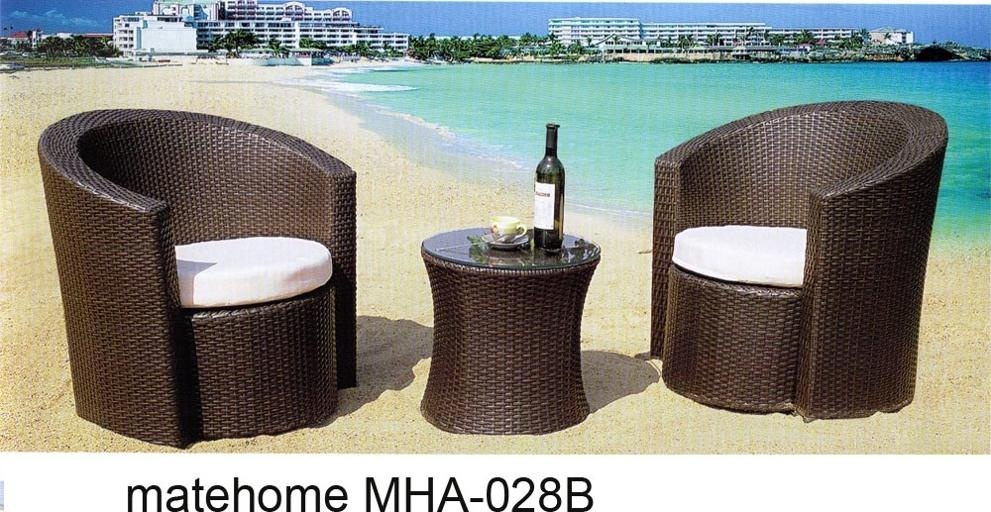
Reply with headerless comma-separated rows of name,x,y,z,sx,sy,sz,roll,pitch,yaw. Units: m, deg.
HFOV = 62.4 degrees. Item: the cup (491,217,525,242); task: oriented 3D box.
cup,0.080,-0.202,6.022,0.270,0.121,0.172,2,6,-2
